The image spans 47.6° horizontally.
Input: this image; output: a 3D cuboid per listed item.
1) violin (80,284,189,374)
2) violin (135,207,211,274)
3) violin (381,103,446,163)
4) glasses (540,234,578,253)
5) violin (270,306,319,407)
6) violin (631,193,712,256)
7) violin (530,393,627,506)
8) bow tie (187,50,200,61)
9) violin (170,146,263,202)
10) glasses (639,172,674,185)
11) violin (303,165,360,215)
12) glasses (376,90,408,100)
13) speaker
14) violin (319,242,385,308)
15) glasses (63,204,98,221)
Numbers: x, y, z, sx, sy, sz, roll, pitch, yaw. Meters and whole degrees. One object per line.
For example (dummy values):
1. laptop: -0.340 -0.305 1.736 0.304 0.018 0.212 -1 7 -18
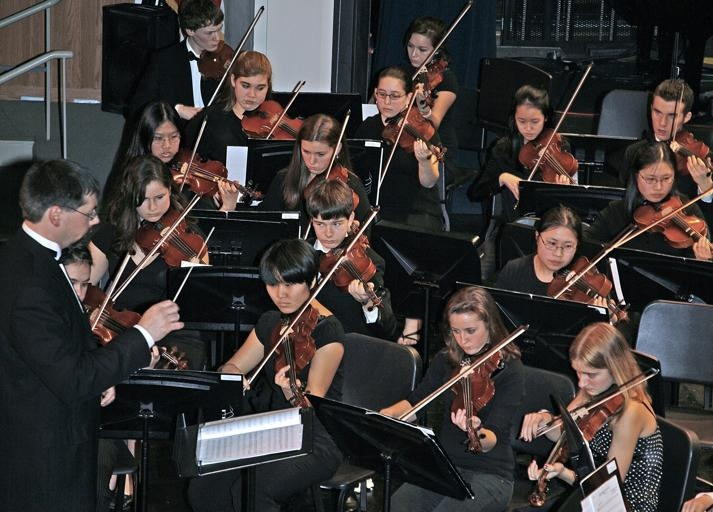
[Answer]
1. violin: -1.185 0.414 4.193 0.279 0.686 0.140 -50 2 -35
2. violin: -1.069 -0.109 4.673 0.382 0.317 0.165 4 7 11
3. violin: 0.377 -0.872 5.632 0.467 0.284 0.133 40 -2 -2
4. glasses: 1.162 -0.073 4.719 0.200 0.084 0.073 4 7 13
5. violin: -0.298 0.469 3.901 0.189 0.484 0.078 -34 -49 23
6. violin: 2.026 -0.234 5.269 0.263 0.532 0.102 -34 -23 -16
7. violin: 0.916 0.798 3.691 0.127 0.662 0.317 38 -8 -6
8. bow tie: -1.188 -1.466 5.891 0.075 0.061 0.020 1 7 -13
9. violin: -0.954 -0.536 5.325 0.610 0.282 0.101 21 -12 -21
10. glasses: 1.916 -0.499 5.212 0.209 0.060 0.048 2 7 -3
11. violin: -0.136 -0.429 4.963 0.323 0.268 0.474 1 7 -15
12. glasses: 0.221 -1.107 5.537 0.160 0.062 0.045 4 7 7
13. speaker: -1.730 -1.562 6.440 0.560 0.858 0.231 0 8 -20
14. violin: -0.036 0.070 4.649 0.246 0.433 0.137 -35 -2 -9
15. glasses: -1.133 -0.186 3.418 0.086 0.050 0.187 4 7 9
